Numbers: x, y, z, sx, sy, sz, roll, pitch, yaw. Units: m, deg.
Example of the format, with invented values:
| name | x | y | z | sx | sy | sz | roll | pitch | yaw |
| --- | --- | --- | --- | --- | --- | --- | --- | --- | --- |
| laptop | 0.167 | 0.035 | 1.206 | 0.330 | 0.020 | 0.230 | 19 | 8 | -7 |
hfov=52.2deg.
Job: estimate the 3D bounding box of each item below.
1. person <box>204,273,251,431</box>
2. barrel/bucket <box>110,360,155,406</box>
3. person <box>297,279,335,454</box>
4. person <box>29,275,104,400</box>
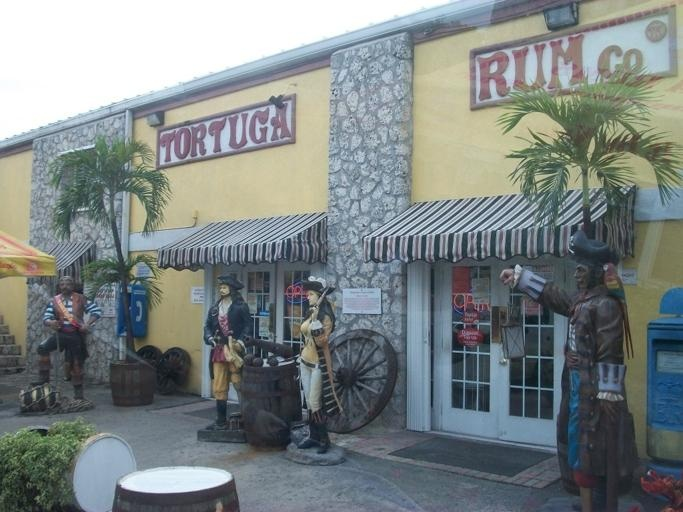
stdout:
| name | x | y | z | sx | sy | sz | roll | pitch | yaw |
| --- | --- | --- | --- | --- | --- | --- | --- | --- | --- |
| person | -1.518 | 1.296 | 9.534 | 0.701 | 2.069 | 0.491 | -4 | -3 | 44 |
| barrel/bucket | -3.327 | 2.025 | 11.253 | 0.634 | 0.654 | 0.653 | 1 | -3 | 0 |
| person | -0.306 | 1.315 | 8.557 | 0.449 | 2.109 | 0.337 | -2 | -2 | 4 |
| person | -4.453 | 1.327 | 11.408 | 0.968 | 1.974 | 0.907 | 0 | -3 | -28 |
